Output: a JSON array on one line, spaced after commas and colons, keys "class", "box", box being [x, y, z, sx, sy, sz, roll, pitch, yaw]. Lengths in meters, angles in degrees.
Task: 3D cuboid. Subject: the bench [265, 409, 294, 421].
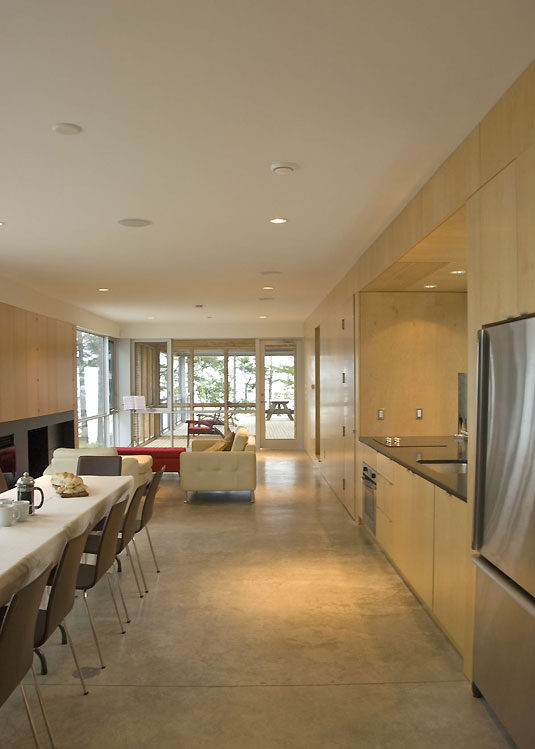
[{"class": "bench", "box": [0.286, 0.808, 11.319, 0.633, 0.385, 0.097, -1, -4, 8]}]

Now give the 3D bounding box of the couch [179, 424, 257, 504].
[{"class": "couch", "box": [-0.588, 1.164, 6.725, 0.744, 0.847, 1.124, 1, -2, 0]}]
